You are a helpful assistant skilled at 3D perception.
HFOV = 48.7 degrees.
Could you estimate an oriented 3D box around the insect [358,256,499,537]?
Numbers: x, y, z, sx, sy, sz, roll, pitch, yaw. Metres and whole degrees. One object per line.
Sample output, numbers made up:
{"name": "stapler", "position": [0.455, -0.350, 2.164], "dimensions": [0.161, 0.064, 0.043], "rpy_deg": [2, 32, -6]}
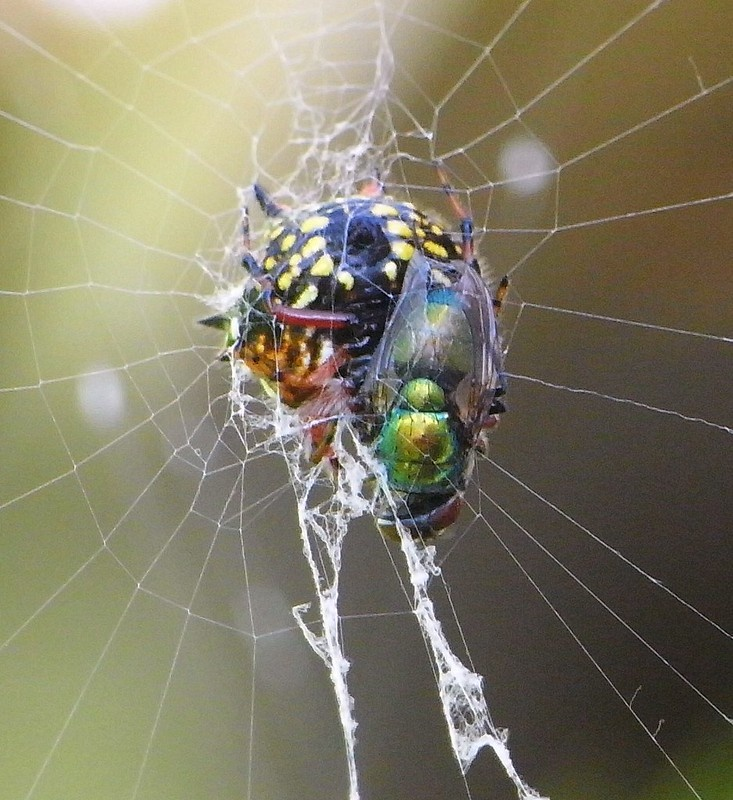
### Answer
{"name": "insect", "position": [0.078, -0.019, 0.998], "dimensions": [0.187, 0.088, 0.317], "rpy_deg": [3, -83, -9]}
